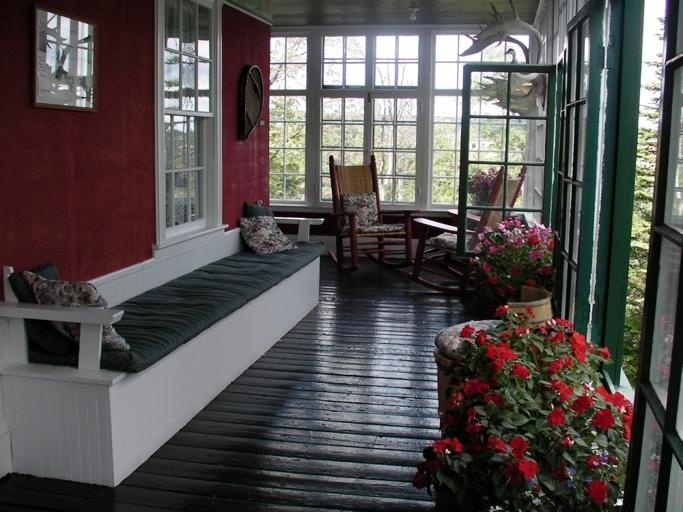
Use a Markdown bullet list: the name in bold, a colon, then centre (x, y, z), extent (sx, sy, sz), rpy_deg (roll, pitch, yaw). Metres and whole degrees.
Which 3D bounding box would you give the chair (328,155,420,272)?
- **chair**: centre (0.374, -0.568, 6.772), extent (1.001, 1.598, 1.191), rpy_deg (-2, 5, -3)

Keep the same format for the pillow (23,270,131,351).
- **pillow**: centre (-1.368, 0.287, 2.606), extent (0.610, 0.378, 0.198), rpy_deg (6, 12, 25)

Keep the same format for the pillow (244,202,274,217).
- **pillow**: centre (-0.933, -0.524, 5.645), extent (0.243, 0.166, 0.408), rpy_deg (2, 12, 10)

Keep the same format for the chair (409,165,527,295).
- **chair**: centre (1.360, -0.306, 5.605), extent (1.003, 1.410, 1.078), rpy_deg (-3, 16, -23)

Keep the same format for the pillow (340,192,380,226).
- **pillow**: centre (0.232, -0.630, 6.895), extent (0.422, 0.437, 0.154), rpy_deg (-9, -3, -13)
